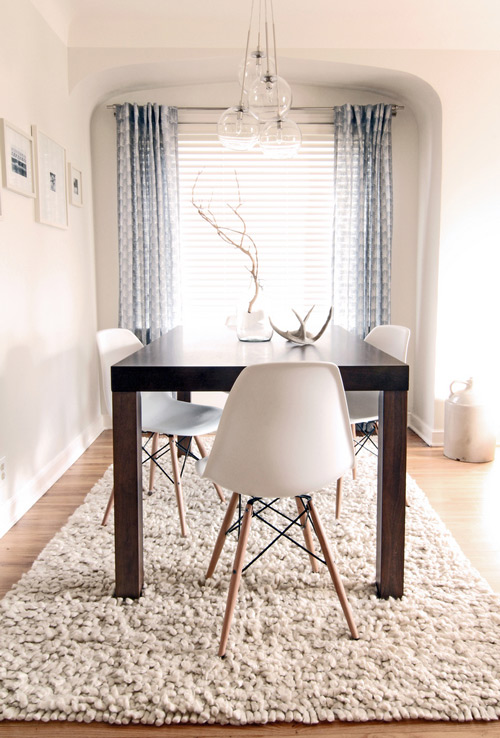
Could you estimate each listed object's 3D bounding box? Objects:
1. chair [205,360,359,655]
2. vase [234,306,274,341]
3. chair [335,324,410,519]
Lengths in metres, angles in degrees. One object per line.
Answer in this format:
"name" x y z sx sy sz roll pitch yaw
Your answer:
"chair" 0.075 0.318 1.632 0.406 0.748 0.574 -1 7 -5
"vase" 0.007 -0.182 2.385 0.111 0.129 0.122 -1 2 9
"chair" 0.468 0.200 2.269 0.225 0.375 0.211 -10 0 22
